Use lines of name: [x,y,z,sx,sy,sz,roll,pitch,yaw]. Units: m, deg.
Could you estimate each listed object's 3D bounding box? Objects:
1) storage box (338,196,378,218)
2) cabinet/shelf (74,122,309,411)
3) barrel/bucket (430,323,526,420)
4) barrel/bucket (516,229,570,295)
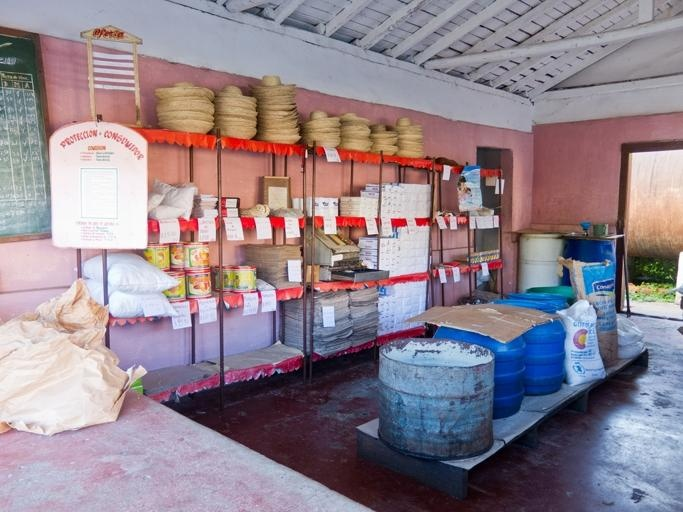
storage box: [0.183,-0.506,5.487,0.315,0.145,0.297,-3,4,-38]
cabinet/shelf: [-1.117,0.138,4.382,0.786,2.282,1.648,9,13,32]
barrel/bucket: [0.864,0.819,3.850,0.805,0.499,0.669,0,5,1]
barrel/bucket: [3.020,0.112,8.033,0.587,0.942,0.362,12,15,43]
